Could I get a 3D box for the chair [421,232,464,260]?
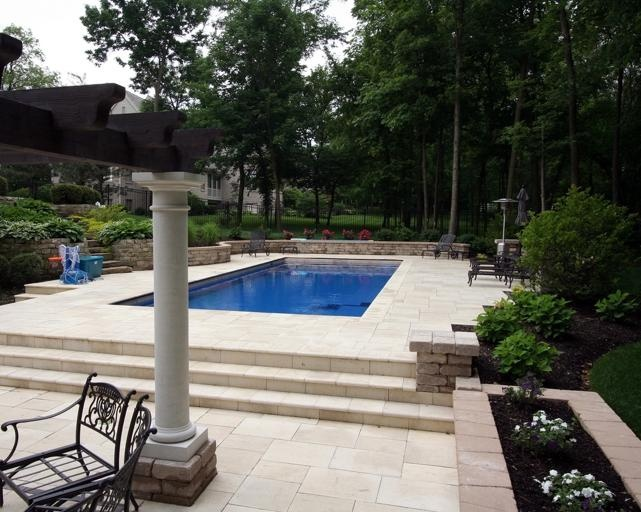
[{"bbox_3d":[4.677,-0.396,19.868,1.433,0.851,0.890,0,0,-40],"label":"chair"}]
